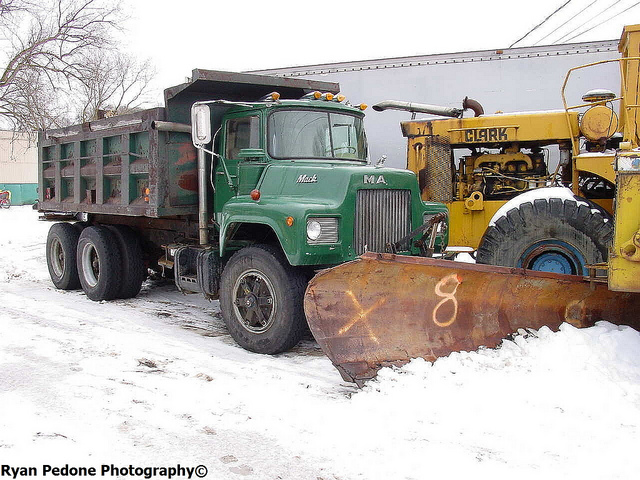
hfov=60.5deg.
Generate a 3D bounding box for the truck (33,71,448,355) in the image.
[{"bbox_3d":[-1.227,-0.524,8.654,3.199,3.493,6.516,-4,5,-45],"label":"truck"}]
